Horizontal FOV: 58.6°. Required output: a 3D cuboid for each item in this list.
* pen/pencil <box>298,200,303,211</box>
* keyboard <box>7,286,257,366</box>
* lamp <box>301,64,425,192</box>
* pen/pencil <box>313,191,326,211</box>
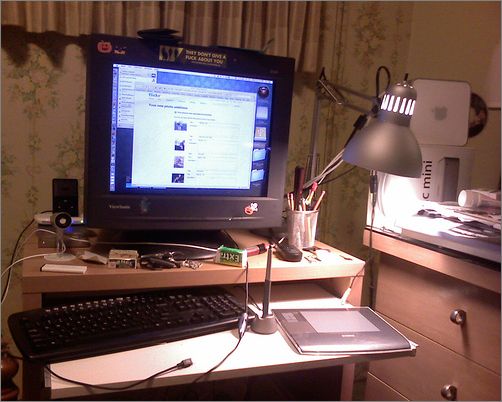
[{"bbox_3d":[0.158,0.014,1.437,0.013,0.030,0.017,-7,12,-34],"label":"pen/pencil"},{"bbox_3d":[-0.297,0.297,1.131,0.564,0.078,0.203,-5,11,-24],"label":"keyboard"},{"bbox_3d":[0.332,-0.229,1.410,0.328,0.420,0.403,1,10,7],"label":"lamp"},{"bbox_3d":[0.257,-0.005,1.718,0.018,0.090,0.012,30,-19,-9],"label":"pen/pencil"}]
